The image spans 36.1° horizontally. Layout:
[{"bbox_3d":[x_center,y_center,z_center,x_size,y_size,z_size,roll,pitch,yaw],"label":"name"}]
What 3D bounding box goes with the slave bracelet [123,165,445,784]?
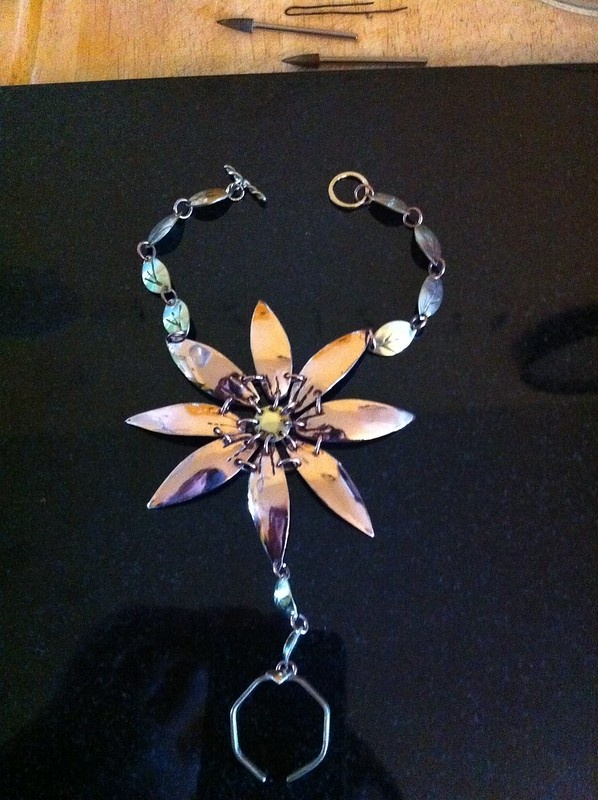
[{"bbox_3d":[-0.057,0.012,1.109,0.395,0.048,0.706,21,82,3],"label":"slave bracelet"}]
